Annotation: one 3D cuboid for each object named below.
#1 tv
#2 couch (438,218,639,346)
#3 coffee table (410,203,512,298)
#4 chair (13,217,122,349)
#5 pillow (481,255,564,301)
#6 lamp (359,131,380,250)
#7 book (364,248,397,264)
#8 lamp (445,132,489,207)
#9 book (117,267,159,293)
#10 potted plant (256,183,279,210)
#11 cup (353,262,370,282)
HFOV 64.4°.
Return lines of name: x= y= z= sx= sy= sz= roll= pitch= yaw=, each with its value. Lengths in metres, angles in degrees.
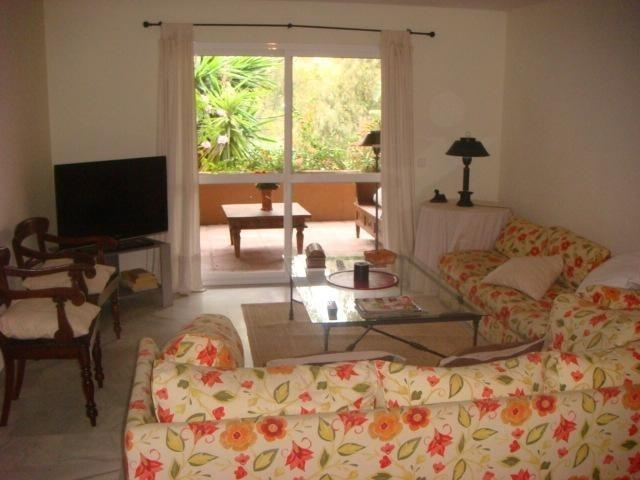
tv: x=-1.936 y=-0.376 z=4.663 sx=0.287 sy=0.727 sz=1.087 roll=17 pitch=20 yaw=38
couch: x=1.636 y=0.308 z=4.712 sx=1.084 sy=0.815 sz=1.879 roll=-2 pitch=10 yaw=17
coffee table: x=1.419 y=0.075 z=5.168 sx=0.823 sy=0.580 sz=0.801 roll=0 pitch=14 yaw=-6
chair: x=-1.935 y=0.319 z=4.058 sx=0.742 sy=0.868 sz=0.716 roll=10 pitch=27 yaw=19
pillow: x=1.691 y=0.231 z=4.031 sx=0.400 sy=0.119 sz=0.397 roll=-37 pitch=25 yaw=-26
lamp: x=0.592 y=-0.529 z=5.560 sx=0.209 sy=1.312 sz=0.376 roll=-4 pitch=16 yaw=-9
book: x=0.521 y=0.140 z=4.394 sx=0.185 sy=0.065 sz=0.145 roll=-5 pitch=14 yaw=-13
lamp: x=1.543 y=-0.737 z=5.381 sx=0.392 sy=0.696 sz=0.568 roll=2 pitch=16 yaw=14
book: x=-1.742 y=0.361 z=4.848 sx=0.221 sy=0.098 sz=0.279 roll=-5 pitch=12 yaw=-35
potted plant: x=-0.534 y=-0.495 z=5.658 sx=0.303 sy=0.313 sz=0.260 roll=0 pitch=12 yaw=-1
cup: x=0.308 y=0.245 z=3.952 sx=0.132 sy=0.140 sz=0.128 roll=0 pitch=15 yaw=0
